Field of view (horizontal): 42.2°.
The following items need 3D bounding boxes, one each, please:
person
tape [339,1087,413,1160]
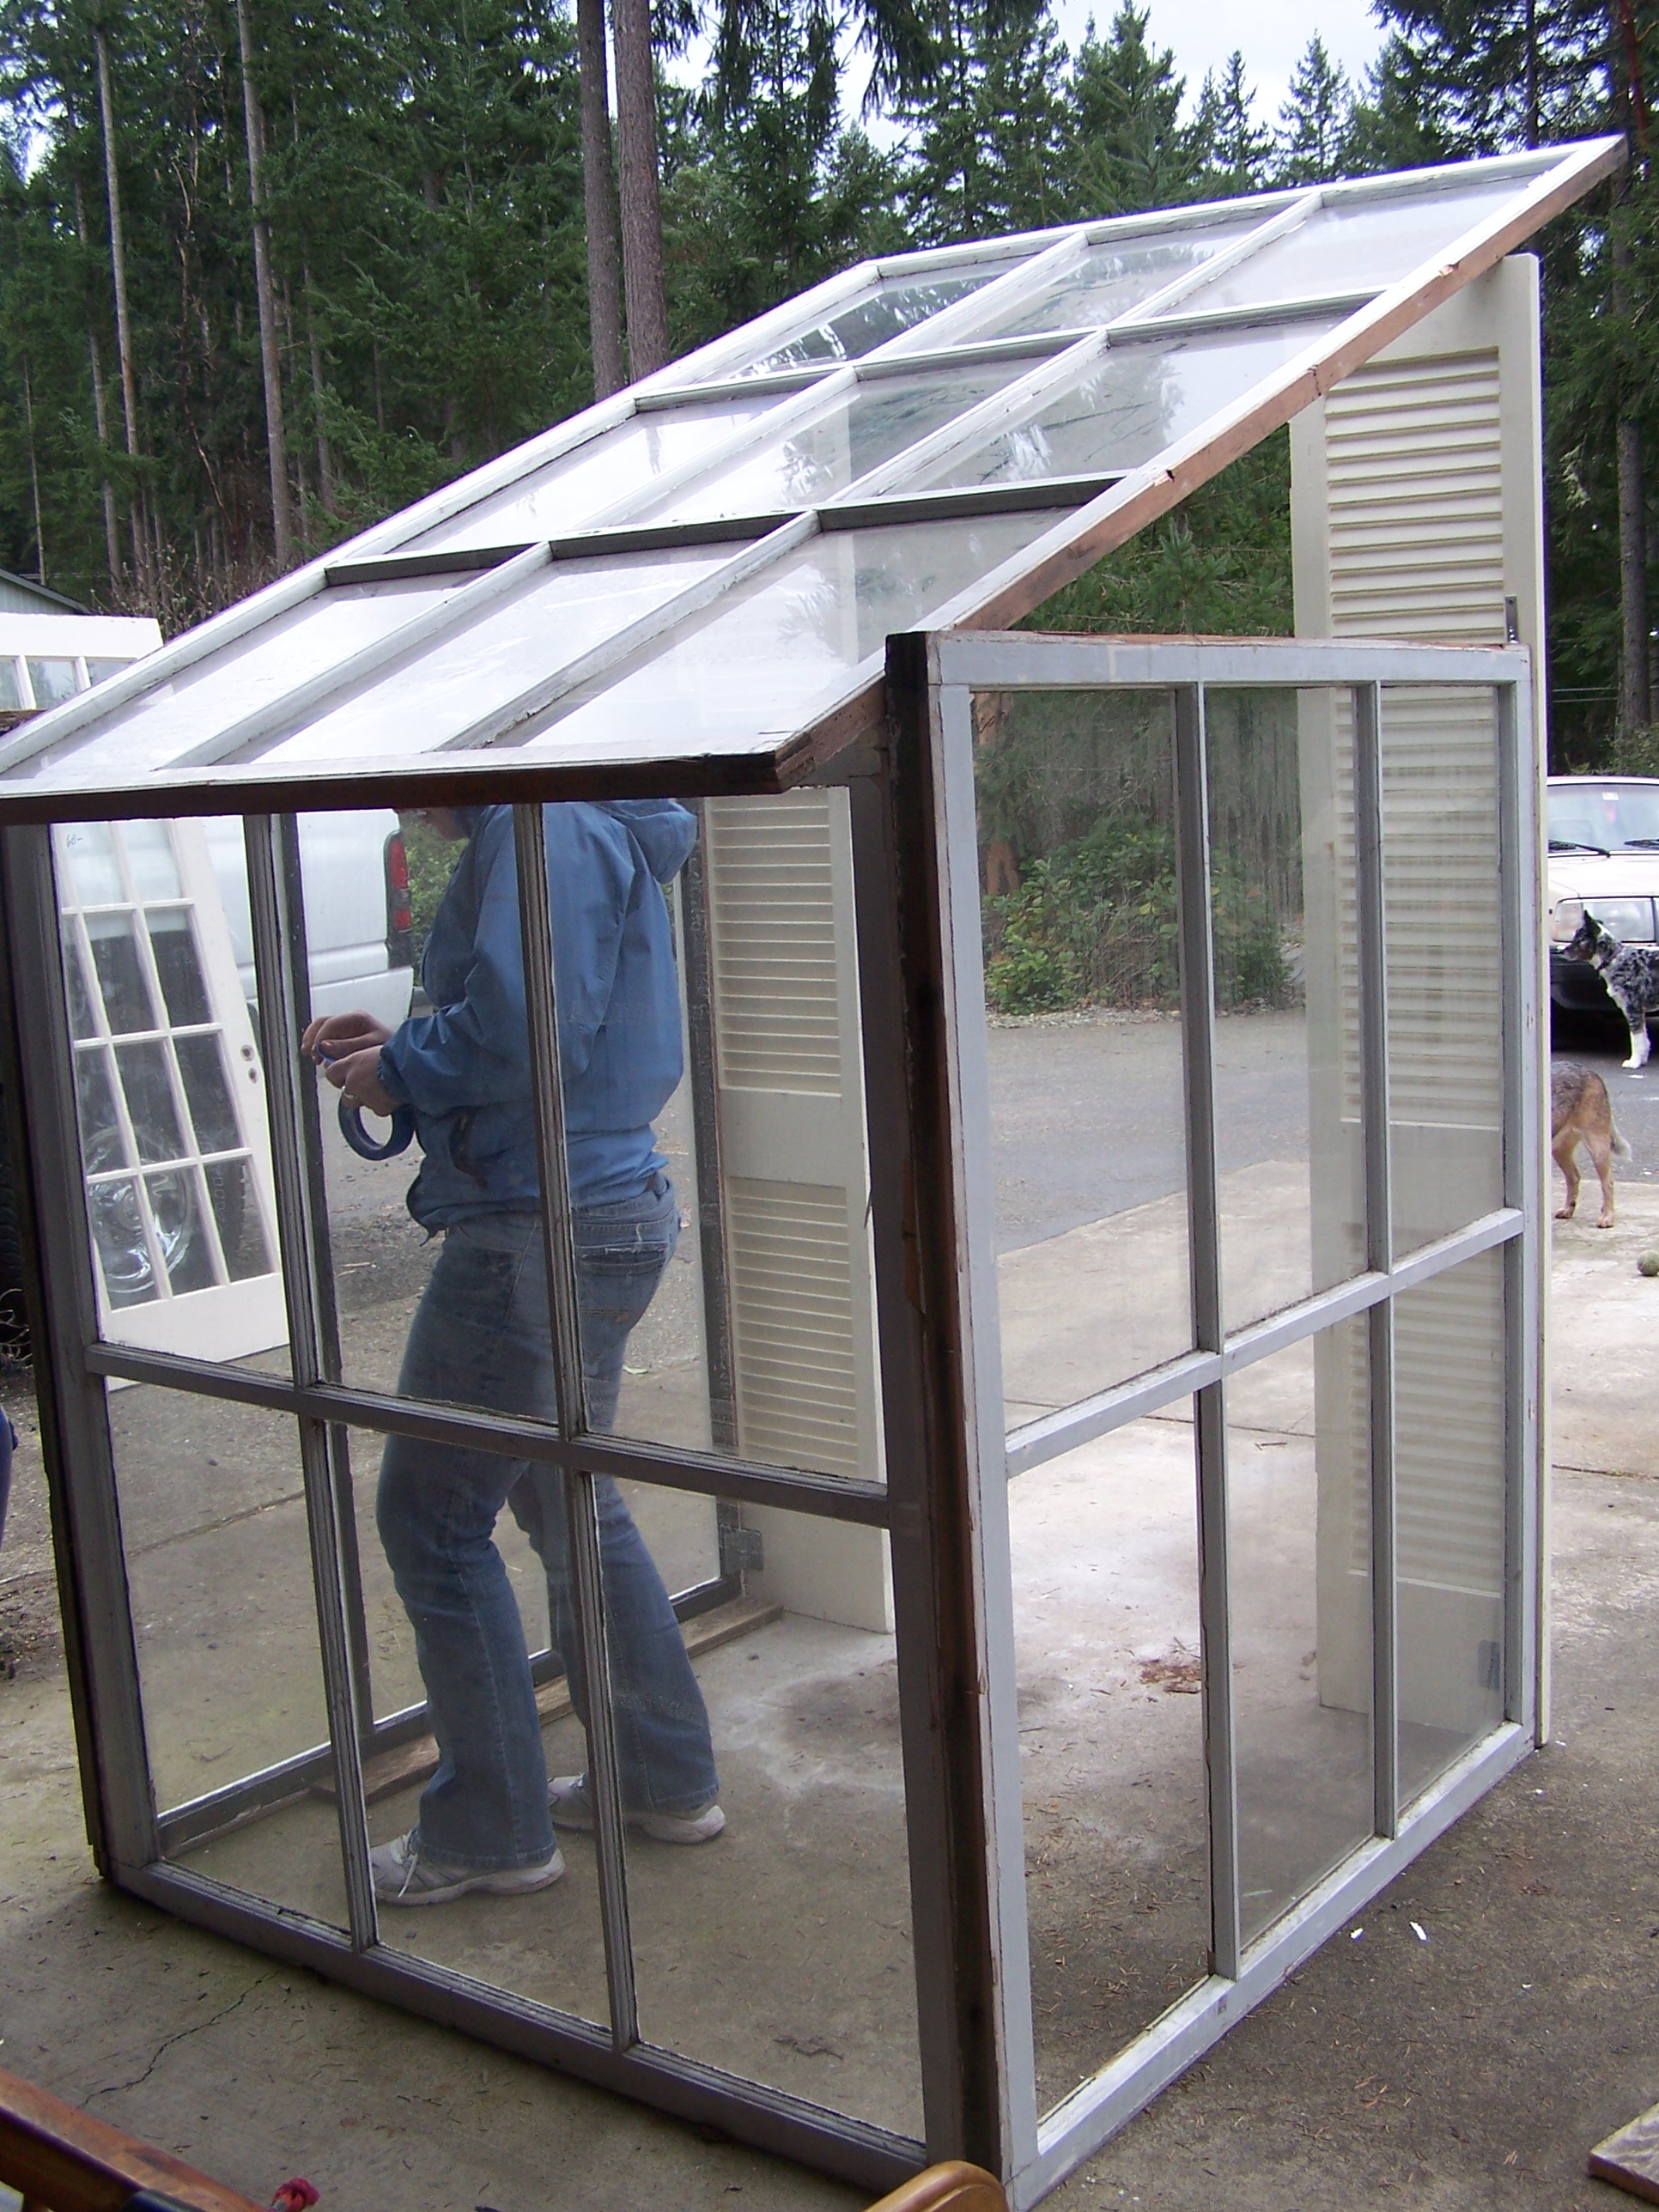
[{"bbox_3d":[-0.393,0.385,2.782,0.667,1.538,0.222,4,15,35],"label":"person"},{"bbox_3d":[-0.594,0.023,2.828,0.092,0.081,0.029,2,7,34],"label":"tape"}]
